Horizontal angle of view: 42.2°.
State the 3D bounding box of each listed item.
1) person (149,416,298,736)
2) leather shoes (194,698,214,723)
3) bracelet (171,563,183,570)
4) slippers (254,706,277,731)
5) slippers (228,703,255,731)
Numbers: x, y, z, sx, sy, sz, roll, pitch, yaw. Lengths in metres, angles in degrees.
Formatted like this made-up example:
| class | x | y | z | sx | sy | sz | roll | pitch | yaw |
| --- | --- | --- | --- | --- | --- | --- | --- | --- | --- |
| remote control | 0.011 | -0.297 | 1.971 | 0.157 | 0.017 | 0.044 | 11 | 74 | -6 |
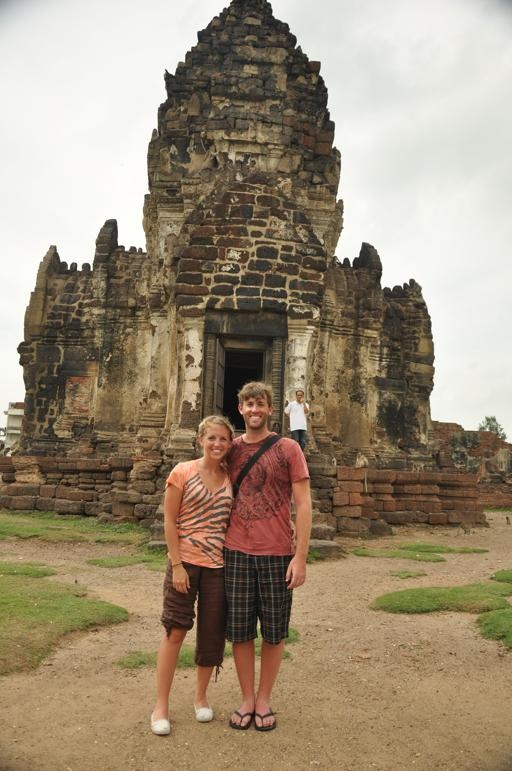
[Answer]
| class | x | y | z | sx | sy | sz | roll | pitch | yaw |
| --- | --- | --- | --- | --- | --- | --- | --- | --- | --- |
| person | -0.324 | 0.893 | 3.344 | 0.439 | 1.497 | 0.301 | 2 | -4 | -23 |
| leather shoes | -0.260 | 1.606 | 3.296 | 0.098 | 0.069 | 0.141 | 1 | -4 | -5 |
| bracelet | -0.385 | 0.865 | 3.213 | 0.051 | 0.030 | 0.033 | 1 | -4 | -5 |
| slippers | 0.047 | 1.610 | 3.216 | 0.116 | 0.080 | 0.103 | 1 | -4 | -11 |
| slippers | -0.070 | 1.607 | 3.212 | 0.121 | 0.075 | 0.087 | 0 | -4 | 0 |
